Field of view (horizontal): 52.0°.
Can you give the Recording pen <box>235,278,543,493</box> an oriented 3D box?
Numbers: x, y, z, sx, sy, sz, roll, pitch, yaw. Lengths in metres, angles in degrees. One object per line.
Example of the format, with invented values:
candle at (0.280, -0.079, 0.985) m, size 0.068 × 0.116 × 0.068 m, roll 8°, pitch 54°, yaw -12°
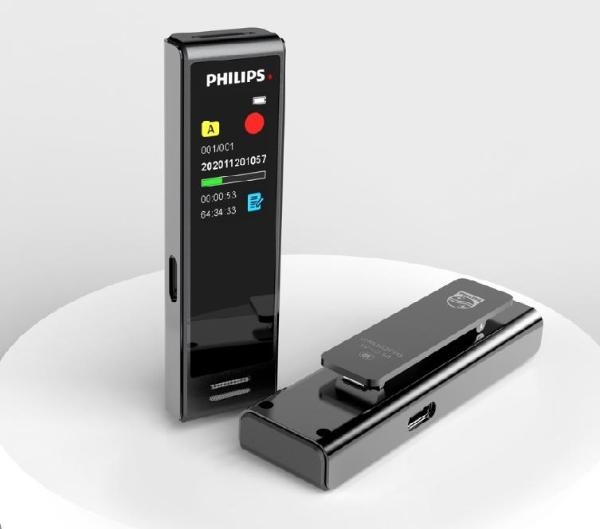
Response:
Recording pen at (0.150, 0.119, 0.813) m, size 0.148 × 0.472 × 0.108 m, roll 25°, pitch -55°, yaw 42°
